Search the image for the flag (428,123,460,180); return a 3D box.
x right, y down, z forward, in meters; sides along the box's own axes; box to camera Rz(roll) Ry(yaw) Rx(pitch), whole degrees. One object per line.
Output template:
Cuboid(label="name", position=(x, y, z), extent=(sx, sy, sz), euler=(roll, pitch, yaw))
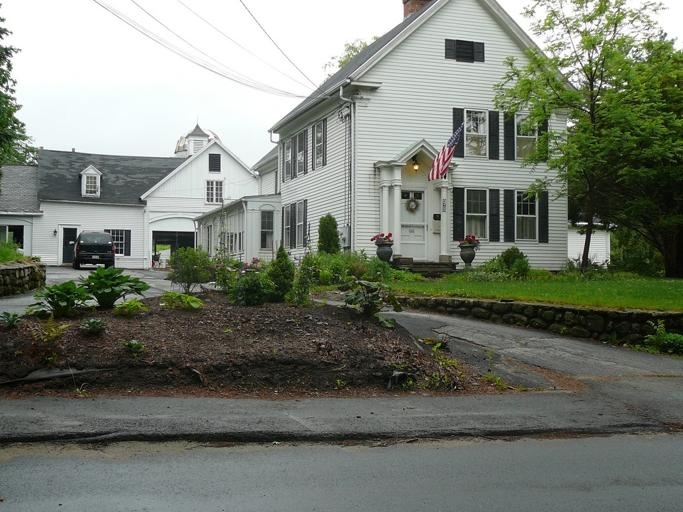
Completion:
Cuboid(label="flag", position=(3.634, -3.661, 23.053), extent=(0.952, 2.083, 2.852), euler=(6, 7, 8))

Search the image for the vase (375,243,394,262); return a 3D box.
Cuboid(label="vase", position=(1.508, -0.112, 22.687), extent=(0.705, 0.482, 0.607), euler=(1, -6, -15))

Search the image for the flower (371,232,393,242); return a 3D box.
Cuboid(label="flower", position=(1.443, -0.615, 22.475), extent=(0.495, 0.197, 0.477), euler=(1, 2, 38))

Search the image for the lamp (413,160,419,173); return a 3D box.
Cuboid(label="lamp", position=(2.714, -3.285, 24.168), extent=(0.207, 0.418, 0.351), euler=(6, 7, 10))

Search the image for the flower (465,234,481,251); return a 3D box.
Cuboid(label="flower", position=(4.771, -0.511, 24.109), extent=(0.753, 0.468, 0.653), euler=(3, 3, 11))

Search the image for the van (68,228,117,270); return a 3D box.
Cuboid(label="van", position=(-12.406, -0.231, 33.037), extent=(1.699, 1.985, 4.029), euler=(1, 7, -22))
